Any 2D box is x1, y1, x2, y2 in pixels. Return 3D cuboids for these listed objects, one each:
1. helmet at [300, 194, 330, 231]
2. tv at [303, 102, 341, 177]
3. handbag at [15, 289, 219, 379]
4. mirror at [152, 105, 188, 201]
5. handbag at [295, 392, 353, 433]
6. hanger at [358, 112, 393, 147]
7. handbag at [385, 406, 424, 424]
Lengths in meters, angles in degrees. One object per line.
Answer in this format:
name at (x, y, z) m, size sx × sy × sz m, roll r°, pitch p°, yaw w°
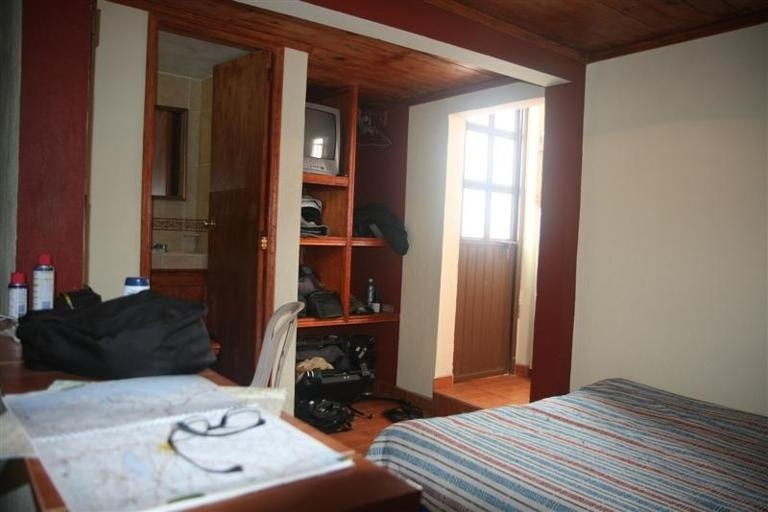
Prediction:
helmet at (-0.630, -0.369, 4.840) m, size 0.233 × 0.293 × 0.107 m, roll 3°, pitch 1°, yaw -27°
tv at (-0.543, -0.988, 4.755) m, size 0.190 × 0.581 × 0.454 m, roll 10°, pitch 14°, yaw 39°
handbag at (-0.960, 0.290, 2.025) m, size 0.503 × 0.192 × 0.364 m, roll 3°, pitch -2°, yaw -7°
mirror at (-1.986, -0.955, 5.209) m, size 0.349 × 0.861 × 0.169 m, roll -4°, pitch 12°, yaw -21°
handbag at (-0.455, 1.260, 4.508) m, size 0.482 × 0.163 × 0.351 m, roll -3°, pitch 9°, yaw -38°
hanger at (-0.116, -1.246, 5.539) m, size 0.372 × 0.265 × 0.134 m, roll -2°, pitch 4°, yaw -25°
handbag at (0.165, 1.392, 4.929) m, size 0.270 × 0.058 × 0.233 m, roll 1°, pitch -2°, yaw -4°
